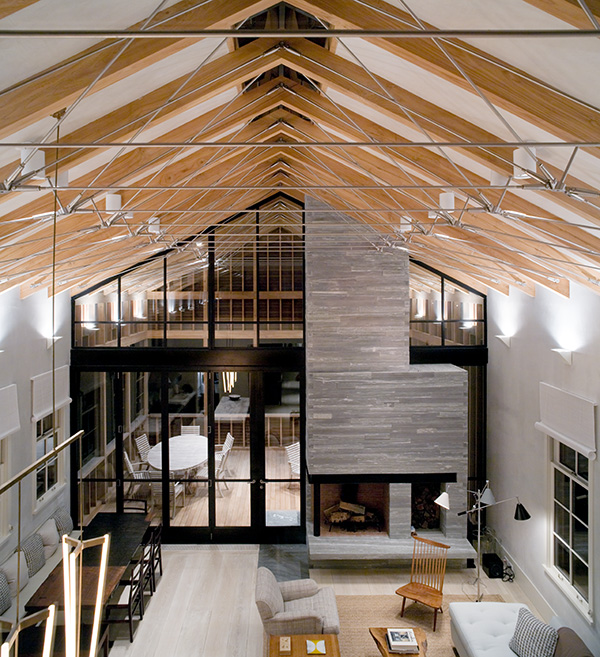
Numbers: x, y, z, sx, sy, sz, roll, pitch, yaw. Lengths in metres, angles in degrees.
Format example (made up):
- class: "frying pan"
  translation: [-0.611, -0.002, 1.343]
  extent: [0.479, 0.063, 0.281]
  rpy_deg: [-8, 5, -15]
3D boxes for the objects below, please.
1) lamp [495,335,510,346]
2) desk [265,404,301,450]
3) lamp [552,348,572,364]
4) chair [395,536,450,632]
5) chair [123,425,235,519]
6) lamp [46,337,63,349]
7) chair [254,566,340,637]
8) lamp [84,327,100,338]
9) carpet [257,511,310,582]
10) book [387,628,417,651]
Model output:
- class: "lamp"
  translation: [2.627, 0.133, 8.888]
  extent: [0.104, 0.118, 0.188]
  rpy_deg: [0, 4, 0]
- class: "desk"
  translation: [-0.233, 1.351, 9.766]
  extent: [0.676, 0.651, 0.515]
  rpy_deg: [-1, -3, 2]
- class: "lamp"
  translation: [2.748, 0.280, 7.249]
  extent: [0.188, 0.124, 0.243]
  rpy_deg: [0, 0, 5]
- class: "chair"
  translation: [1.354, 2.895, 7.879]
  extent: [0.566, 0.831, 0.554]
  rpy_deg: [5, 6, 12]
- class: "chair"
  translation: [-1.688, 2.051, 9.847]
  extent: [1.390, 0.669, 1.387]
  rpy_deg: [1, 6, 10]
- class: "lamp"
  translation: [-3.014, 0.167, 8.446]
  extent: [0.089, 0.107, 0.163]
  rpy_deg: [-3, 0, 8]
- class: "chair"
  translation: [-0.008, 2.915, 7.210]
  extent: [0.855, 0.683, 0.651]
  rpy_deg: [-3, 16, 6]
- class: "lamp"
  translation: [-2.878, 0.043, 9.559]
  extent: [0.202, 0.194, 0.147]
  rpy_deg: [1, 6, -18]
- class: "carpet"
  translation: [-0.204, 2.949, 9.108]
  extent: [0.533, 0.168, 0.813]
  rpy_deg: [-2, 22, -3]
- class: "book"
  translation: [0.978, 2.984, 6.647]
  extent: [0.283, 0.069, 0.397]
  rpy_deg: [-1, 7, 1]
